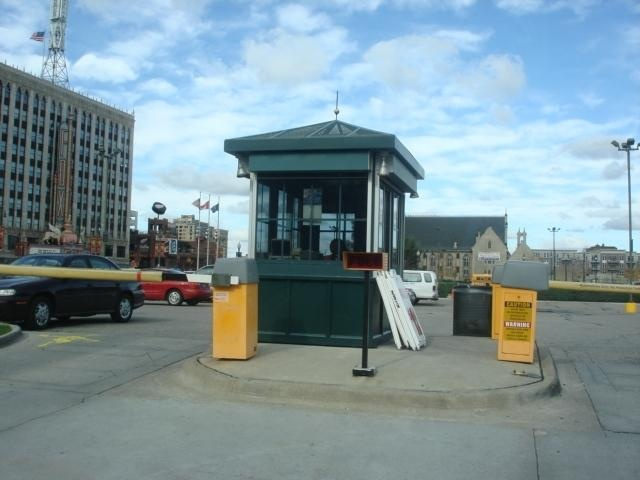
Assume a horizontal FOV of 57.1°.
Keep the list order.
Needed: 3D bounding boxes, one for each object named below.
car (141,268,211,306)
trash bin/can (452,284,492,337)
[{"bbox_3d":[-6.172,2.033,25.261,2.791,1.655,1.850,2,2,19],"label":"car"},{"bbox_3d":[4.111,1.910,15.836,1.078,1.556,1.290,0,0,12],"label":"trash bin/can"}]
